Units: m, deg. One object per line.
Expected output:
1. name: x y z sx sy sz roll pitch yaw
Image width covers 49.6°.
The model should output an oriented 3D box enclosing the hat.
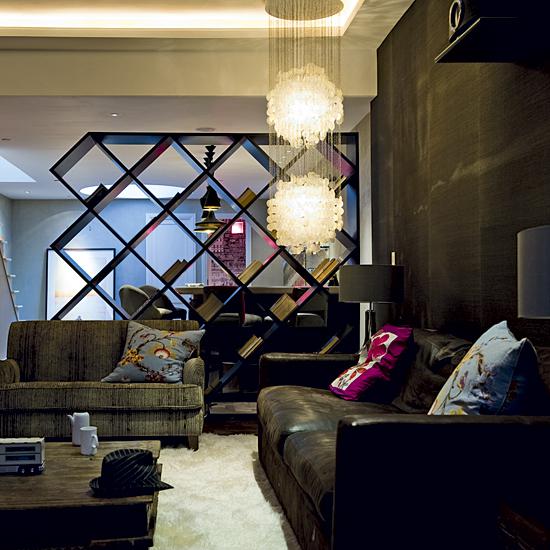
1. hat: -0.587 0.586 1.872 0.228 0.088 0.169 -1 -4 -18

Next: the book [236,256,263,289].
1. book: -0.226 -0.022 4.999 0.244 0.225 0.271 5 -3 -4

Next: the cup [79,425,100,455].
1. cup: -0.879 0.641 2.317 0.070 0.107 0.116 2 -2 -38

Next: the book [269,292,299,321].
1. book: 0.132 0.262 4.890 0.119 0.219 0.123 53 -15 -21

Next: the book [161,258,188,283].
1. book: -1.047 -0.026 4.996 0.243 0.209 0.356 6 -4 -25

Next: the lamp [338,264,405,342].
1. lamp: 0.709 0.203 3.441 0.366 0.564 0.369 -1 3 38

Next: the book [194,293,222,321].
1. book: -0.647 0.263 4.800 0.196 0.274 0.057 42 -8 15

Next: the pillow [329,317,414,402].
1. pillow: 0.637 0.433 2.895 0.124 0.393 0.406 33 -9 -7

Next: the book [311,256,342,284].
1. book: 0.567 -0.040 4.933 0.190 0.250 0.068 27 -21 47

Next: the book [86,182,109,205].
1. book: -1.826 -0.674 4.968 0.167 0.215 0.063 46 1 -8

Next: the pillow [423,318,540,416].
1. pillow: 0.758 0.272 1.686 0.110 0.366 0.317 39 -19 -22
